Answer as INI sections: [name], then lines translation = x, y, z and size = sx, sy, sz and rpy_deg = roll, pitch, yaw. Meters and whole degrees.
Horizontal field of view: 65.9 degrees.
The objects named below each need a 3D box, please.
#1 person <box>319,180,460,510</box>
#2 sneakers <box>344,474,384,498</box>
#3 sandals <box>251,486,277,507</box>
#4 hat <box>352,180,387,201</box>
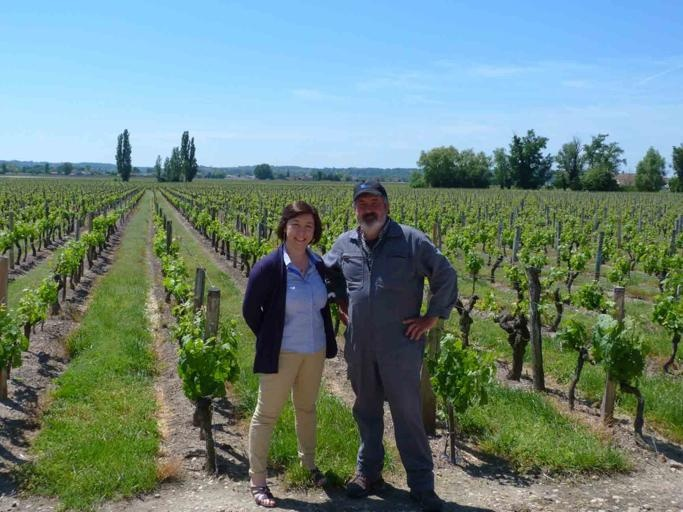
[person]
translation = 0.448, 0.800, 4.969
size = 1.198, 2.971, 0.636
rpy_deg = 2, 7, 15
[sneakers]
translation = 0.212, 2.200, 5.106
size = 0.394, 0.217, 0.157
rpy_deg = 9, -9, -37
[sandals]
translation = -0.716, 2.228, 4.865
size = 0.230, 0.128, 0.201
rpy_deg = -1, 8, -11
[hat]
translation = 0.266, -0.613, 4.990
size = 0.332, 0.196, 0.296
rpy_deg = -1, 8, -14
